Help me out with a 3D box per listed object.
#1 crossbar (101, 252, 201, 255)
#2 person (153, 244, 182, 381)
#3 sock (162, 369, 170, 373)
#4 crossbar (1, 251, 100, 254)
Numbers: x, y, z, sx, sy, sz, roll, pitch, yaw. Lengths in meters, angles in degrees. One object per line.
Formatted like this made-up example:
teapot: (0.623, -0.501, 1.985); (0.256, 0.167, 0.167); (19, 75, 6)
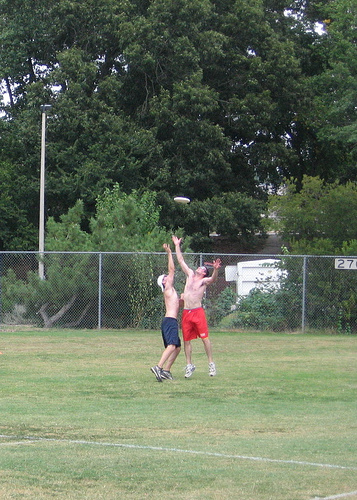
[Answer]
crossbar: (-0.621, 0.069, 24.655); (2.262, 0.093, 1.138); (0, -2, 1)
person: (-0.177, 0.957, 16.219); (0.393, 2.145, 0.765); (0, -2, 0)
sock: (-0.199, 1.879, 16.335); (0.112, 0.052, 0.200); (0, -2, -1)
crossbar: (-2.977, 0.042, 25.249); (3.175, 0.063, 0.052); (1, 11, -13)
